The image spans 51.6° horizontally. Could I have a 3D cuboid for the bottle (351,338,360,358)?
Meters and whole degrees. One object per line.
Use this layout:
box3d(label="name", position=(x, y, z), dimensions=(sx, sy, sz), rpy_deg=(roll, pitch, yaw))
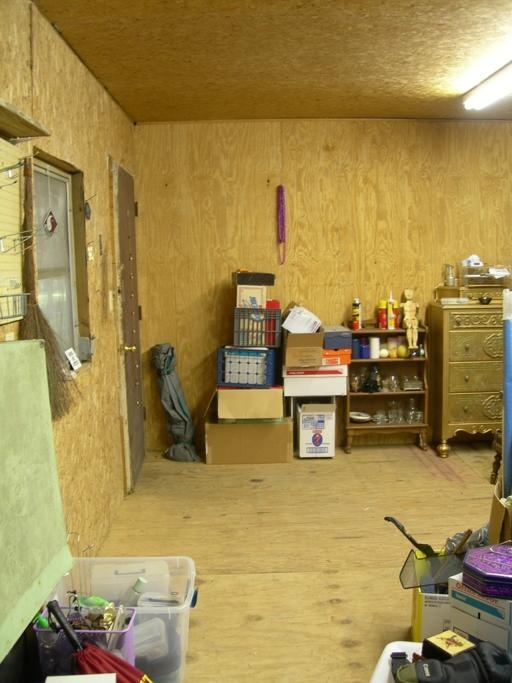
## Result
box3d(label="bottle", position=(0.908, 0.070, 4.745), dimensions=(0.122, 0.165, 0.065), rpy_deg=(-6, 7, -41))

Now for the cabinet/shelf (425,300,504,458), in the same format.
box3d(label="cabinet/shelf", position=(1.867, 0.311, 4.777), dimensions=(0.550, 1.351, 0.477), rpy_deg=(-1, 5, 1))

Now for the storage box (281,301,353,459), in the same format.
box3d(label="storage box", position=(0.514, 0.359, 4.651), dimensions=(0.621, 1.345, 0.536), rpy_deg=(-2, 6, -10))

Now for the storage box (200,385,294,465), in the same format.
box3d(label="storage box", position=(-0.060, 0.704, 4.640), dimensions=(0.663, 0.451, 0.683), rpy_deg=(-1, 3, -1))

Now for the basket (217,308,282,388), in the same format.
box3d(label="basket", position=(-0.049, 0.049, 4.459), dimensions=(0.543, 0.661, 0.205), rpy_deg=(-2, 5, -4))

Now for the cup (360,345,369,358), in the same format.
box3d(label="cup", position=(0.981, 0.090, 4.740), dimensions=(0.076, 0.126, 0.055), rpy_deg=(0, 6, 13))

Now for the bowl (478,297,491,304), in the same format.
box3d(label="bowl", position=(1.971, -0.345, 4.543), dimensions=(0.067, 0.050, 0.070), rpy_deg=(1, -1, 0))

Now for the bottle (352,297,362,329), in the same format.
box3d(label="bottle", position=(0.914, -0.247, 4.803), dimensions=(0.098, 0.282, 0.321), rpy_deg=(0, 6, 11))

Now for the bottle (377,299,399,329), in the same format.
box3d(label="bottle", position=(1.196, -0.243, 4.812), dimensions=(0.198, 0.257, 0.246), rpy_deg=(0, 6, 13))
